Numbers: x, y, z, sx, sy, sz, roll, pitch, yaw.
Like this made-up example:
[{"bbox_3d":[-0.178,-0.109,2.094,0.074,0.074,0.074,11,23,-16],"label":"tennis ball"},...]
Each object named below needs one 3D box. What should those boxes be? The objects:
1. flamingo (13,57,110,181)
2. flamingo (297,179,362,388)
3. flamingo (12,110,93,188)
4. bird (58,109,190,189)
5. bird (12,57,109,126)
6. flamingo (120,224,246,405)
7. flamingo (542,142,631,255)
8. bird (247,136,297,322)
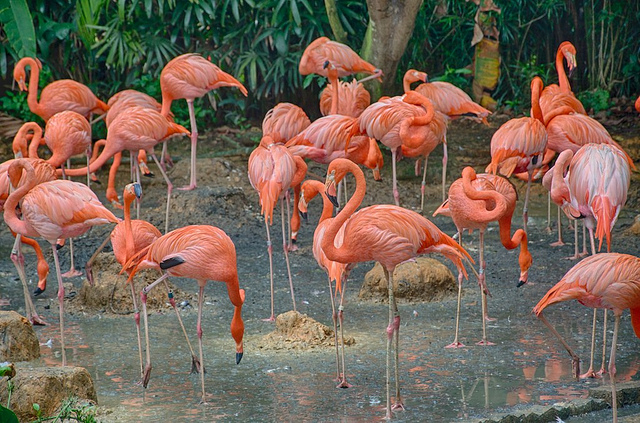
[{"bbox_3d":[-3.582,-1.474,11.382,1.219,1.447,0.706,-17,17,-25],"label":"flamingo"},{"bbox_3d":[0.076,0.652,7.676,0.591,1.968,0.777,1,0,2],"label":"flamingo"},{"bbox_3d":[-3.385,-0.639,10.359,0.616,1.288,1.103,6,16,42],"label":"flamingo"},{"bbox_3d":[-2.515,-0.796,10.375,1.785,1.010,0.737,-15,26,-30],"label":"bird"},{"bbox_3d":[-3.588,-1.594,11.293,0.554,1.194,1.526,19,26,37],"label":"bird"},{"bbox_3d":[-1.174,0.965,7.727,1.443,1.789,0.952,5,8,25],"label":"flamingo"},{"bbox_3d":[2.856,-0.183,8.593,0.474,1.047,0.732,-2,-2,-39],"label":"flamingo"},{"bbox_3d":[-0.480,0.161,8.770,0.516,1.425,0.934,-4,-2,-5],"label":"bird"}]
